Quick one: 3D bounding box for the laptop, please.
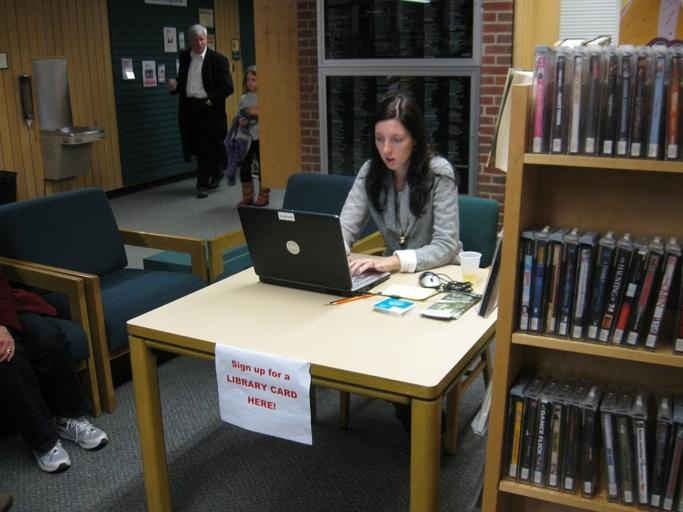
[{"bbox_3d":[-0.162,-0.124,2.209,0.478,0.348,0.387,7,16,31],"label":"laptop"}]

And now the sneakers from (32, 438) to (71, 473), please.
[{"bbox_3d":[-1.366,0.931,2.532,0.218,0.109,0.086,2,5,34],"label":"sneakers"}]

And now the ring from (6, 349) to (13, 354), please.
[{"bbox_3d":[-1.497,0.422,2.434,0.026,0.015,0.015,-10,22,-27],"label":"ring"}]

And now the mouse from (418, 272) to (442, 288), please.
[{"bbox_3d":[0.377,0.103,2.320,0.064,0.023,0.067,25,12,-3],"label":"mouse"}]

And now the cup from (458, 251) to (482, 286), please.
[{"bbox_3d":[0.560,0.046,2.431,0.119,0.142,0.125,-5,12,1],"label":"cup"}]

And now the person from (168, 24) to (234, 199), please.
[{"bbox_3d":[-1.789,-1.834,7.084,0.817,2.149,0.409,9,21,23],"label":"person"}]
